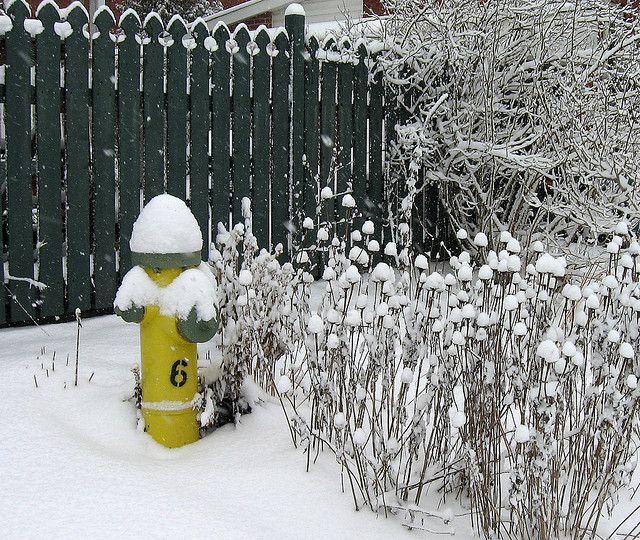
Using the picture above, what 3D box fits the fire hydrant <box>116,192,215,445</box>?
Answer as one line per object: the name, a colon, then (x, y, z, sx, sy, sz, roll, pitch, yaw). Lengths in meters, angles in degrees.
fire hydrant: (-0.869, 0.228, 4.656, 0.500, 1.300, 0.638, -2, 13, -11)
